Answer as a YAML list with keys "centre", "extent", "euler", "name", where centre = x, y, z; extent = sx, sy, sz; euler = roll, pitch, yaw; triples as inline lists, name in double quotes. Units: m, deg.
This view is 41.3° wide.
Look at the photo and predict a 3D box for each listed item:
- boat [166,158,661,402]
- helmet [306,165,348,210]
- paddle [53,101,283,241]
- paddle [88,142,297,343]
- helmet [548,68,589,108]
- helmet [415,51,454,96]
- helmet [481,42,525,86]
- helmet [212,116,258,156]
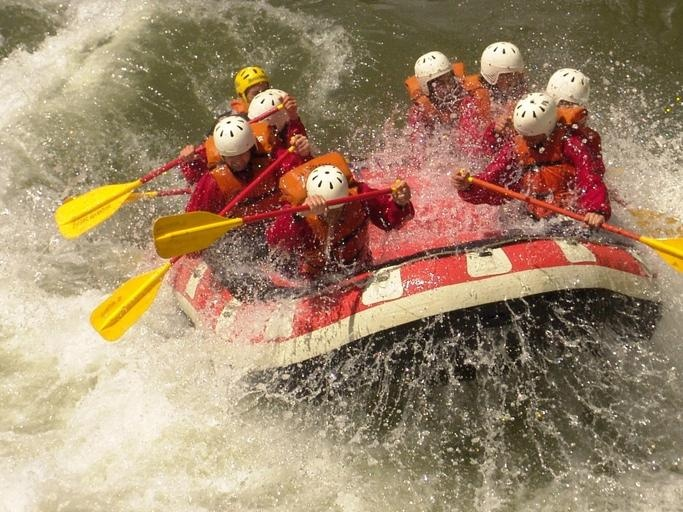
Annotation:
- centre: [0.668, 0.383, 9.411]
  extent: [3.657, 0.733, 2.310]
  euler: [-5, 37, 8]
  name: "boat"
- centre: [-0.150, -0.724, 9.068]
  extent: [0.322, 0.327, 0.408]
  euler: [-12, 24, -6]
  name: "helmet"
- centre: [-2.051, -0.921, 10.588]
  extent: [2.797, 0.224, 0.417]
  euler: [-36, 90, -2]
  name: "paddle"
- centre: [-1.605, -0.060, 10.038]
  extent: [3.385, 0.244, 0.498]
  euler: [-40, 98, -14]
  name: "paddle"
- centre: [2.493, -1.802, 9.884]
  extent: [0.431, 0.378, 0.358]
  euler: [2, 44, 4]
  name: "helmet"
- centre: [1.073, -2.231, 11.006]
  extent: [0.401, 0.498, 0.383]
  euler: [53, 44, 3]
  name: "helmet"
- centre: [1.890, -2.263, 10.791]
  extent: [0.487, 0.423, 0.420]
  euler: [-1, 23, 36]
  name: "helmet"
- centre: [-1.162, -1.257, 9.729]
  extent: [0.421, 0.351, 0.369]
  euler: [-26, 57, -4]
  name: "helmet"
